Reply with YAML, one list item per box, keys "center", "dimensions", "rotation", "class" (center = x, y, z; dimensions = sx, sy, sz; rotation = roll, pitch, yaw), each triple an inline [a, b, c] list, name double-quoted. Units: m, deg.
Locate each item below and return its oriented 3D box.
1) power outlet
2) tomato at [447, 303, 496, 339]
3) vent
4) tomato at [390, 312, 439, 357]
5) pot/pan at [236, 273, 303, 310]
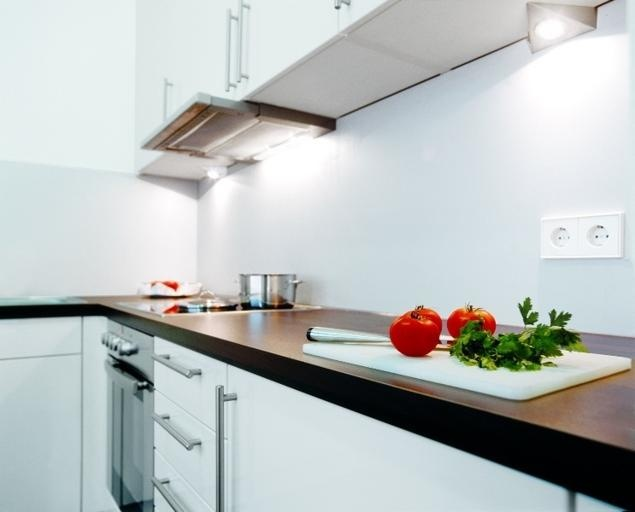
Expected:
- center: [0.626, -0.045, 1.119]
  dimensions: [0.024, 0.108, 0.179]
  rotation: [0, -1, -45]
  class: "power outlet"
- center: [0.294, 0.111, 0.871]
  dimensions: [0.081, 0.080, 0.081]
  rotation: [-2, -5, -5]
  class: "tomato"
- center: [-0.428, -0.530, 2.104]
  dimensions: [0.554, 0.057, 0.979]
  rotation: [3, 1, -31]
  class: "vent"
- center: [0.176, 0.138, 0.819]
  dimensions: [0.099, 0.102, 0.105]
  rotation: [0, -10, 3]
  class: "tomato"
- center: [-0.185, 0.144, 1.905]
  dimensions: [0.321, 0.149, 0.240]
  rotation: [-2, -3, 43]
  class: "pot/pan"
